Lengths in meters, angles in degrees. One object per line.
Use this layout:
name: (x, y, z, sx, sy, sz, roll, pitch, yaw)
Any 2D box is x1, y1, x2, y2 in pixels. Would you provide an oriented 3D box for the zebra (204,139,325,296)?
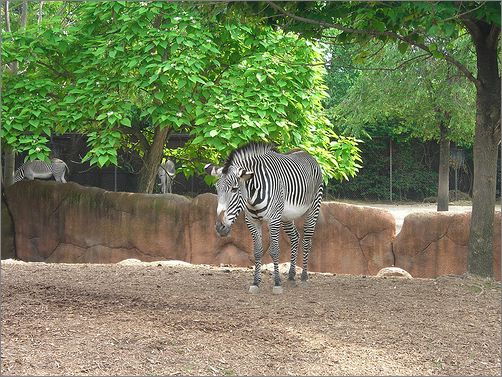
zebra: (0.260, 0.419, 12.570, 0.894, 2.237, 2.630, 3, 4, 36)

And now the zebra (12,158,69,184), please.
zebra: (-5.269, -0.431, 20.871, 1.260, 0.682, 1.218, -4, 15, -22)
